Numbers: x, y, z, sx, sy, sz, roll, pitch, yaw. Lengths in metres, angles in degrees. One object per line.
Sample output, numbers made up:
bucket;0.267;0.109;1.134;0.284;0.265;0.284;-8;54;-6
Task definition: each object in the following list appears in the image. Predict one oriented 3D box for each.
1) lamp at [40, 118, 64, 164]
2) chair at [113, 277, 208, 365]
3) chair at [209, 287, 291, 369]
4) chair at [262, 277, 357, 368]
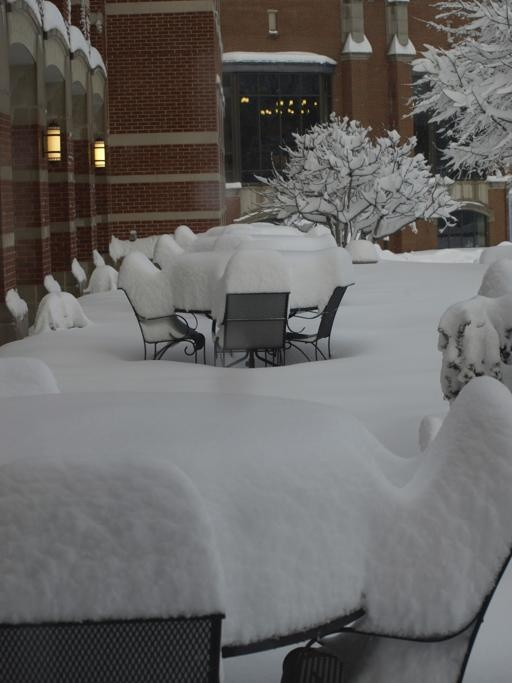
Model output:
lamp;-3.255;-3.181;12.133;0.203;0.670;0.165;-3;9;-24
chair;-0.875;-0.135;7.830;0.582;1.078;0.663;-3;-5;2
chair;-0.058;-0.231;7.069;0.549;0.951;0.686;-1;38;-6
chair;0.553;-0.151;7.867;0.580;0.986;0.578;11;6;32
